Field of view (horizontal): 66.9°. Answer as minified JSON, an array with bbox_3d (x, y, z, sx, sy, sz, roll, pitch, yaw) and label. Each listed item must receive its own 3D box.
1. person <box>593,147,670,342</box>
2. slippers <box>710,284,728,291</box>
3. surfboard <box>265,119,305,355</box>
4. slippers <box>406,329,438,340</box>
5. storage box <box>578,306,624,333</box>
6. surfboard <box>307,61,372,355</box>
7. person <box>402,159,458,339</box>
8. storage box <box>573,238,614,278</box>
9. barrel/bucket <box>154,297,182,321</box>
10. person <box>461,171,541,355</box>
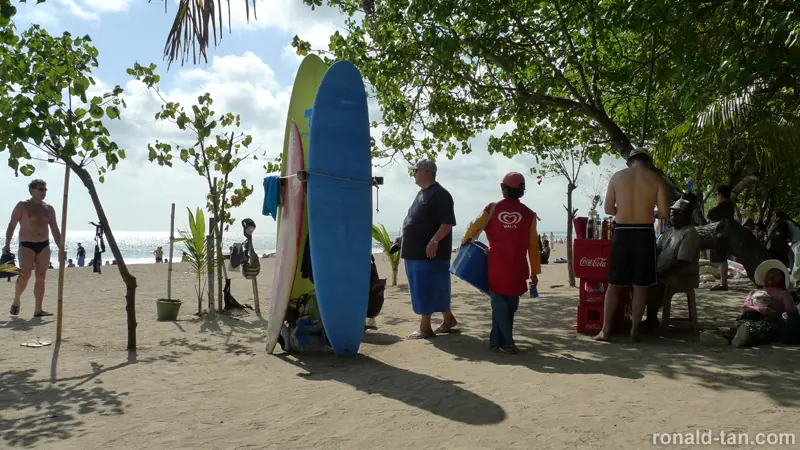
[{"bbox_3d":[3.823,0.318,9.924,1.043,3.195,0.410,0,-3,17],"label":"person"},{"bbox_3d":[7.058,1.366,13.392,0.398,0.136,0.143,0,11,23],"label":"slippers"},{"bbox_3d":[-1.883,0.167,10.090,0.538,3.875,1.107,2,-3,-26],"label":"surfboard"},{"bbox_3d":[0.367,1.885,10.436,0.471,0.122,0.179,2,-8,-14],"label":"slippers"},{"bbox_3d":[3.343,1.607,10.258,0.595,0.351,0.578,-1,-7,11],"label":"storage box"},{"bbox_3d":[-0.956,-0.299,9.638,1.027,4.734,0.220,1,-3,-8],"label":"surfboard"},{"bbox_3d":[0.463,0.416,10.216,0.863,3.047,0.650,1,-3,-2],"label":"person"},{"bbox_3d":[3.250,0.557,10.495,0.807,0.715,0.615,1,-5,7],"label":"storage box"},{"bbox_3d":[-4.576,1.648,11.953,0.424,0.301,0.431,8,-2,0],"label":"barrel/bucket"},{"bbox_3d":[1.685,0.594,9.687,1.071,2.882,0.428,1,-3,9],"label":"person"}]
